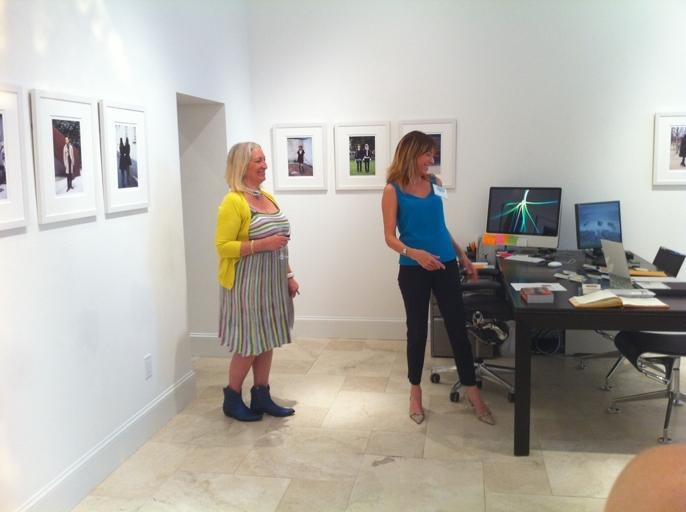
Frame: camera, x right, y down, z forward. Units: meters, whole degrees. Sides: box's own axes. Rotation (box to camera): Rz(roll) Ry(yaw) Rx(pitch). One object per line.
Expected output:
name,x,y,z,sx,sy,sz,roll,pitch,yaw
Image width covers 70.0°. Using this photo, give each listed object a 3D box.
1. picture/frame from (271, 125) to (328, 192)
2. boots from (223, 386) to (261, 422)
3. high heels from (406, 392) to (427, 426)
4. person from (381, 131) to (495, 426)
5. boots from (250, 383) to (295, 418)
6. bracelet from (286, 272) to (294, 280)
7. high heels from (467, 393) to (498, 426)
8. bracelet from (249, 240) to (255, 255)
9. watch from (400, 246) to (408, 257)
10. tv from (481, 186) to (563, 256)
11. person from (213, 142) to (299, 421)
picture/frame,-0.448,-1.081,5.274,0.695,0.832,0.054,0,6,4
boots,-0.797,1.151,3.811,0.329,0.228,0.163,6,3,13
high heels,0.545,1.138,3.591,0.080,0.113,0.266,-2,0,5
person,0.657,0.152,3.606,0.712,2.116,0.485,-2,11,4
boots,-0.516,1.133,3.851,0.439,0.310,0.165,1,3,4
bracelet,-0.424,0.157,3.845,0.064,0.061,0.024,-4,23,-11
high heels,1.009,1.124,3.601,0.101,0.129,0.303,-10,7,-10
bracelet,-0.654,-0.054,3.458,0.028,0.079,0.058,0,6,-22
watch,0.428,-0.029,3.467,0.044,0.063,0.024,2,-7,6
tv,1.761,-0.346,4.762,0.635,0.593,0.252,3,6,25
person,-0.673,0.215,3.652,0.632,2.087,0.442,-3,11,-5
